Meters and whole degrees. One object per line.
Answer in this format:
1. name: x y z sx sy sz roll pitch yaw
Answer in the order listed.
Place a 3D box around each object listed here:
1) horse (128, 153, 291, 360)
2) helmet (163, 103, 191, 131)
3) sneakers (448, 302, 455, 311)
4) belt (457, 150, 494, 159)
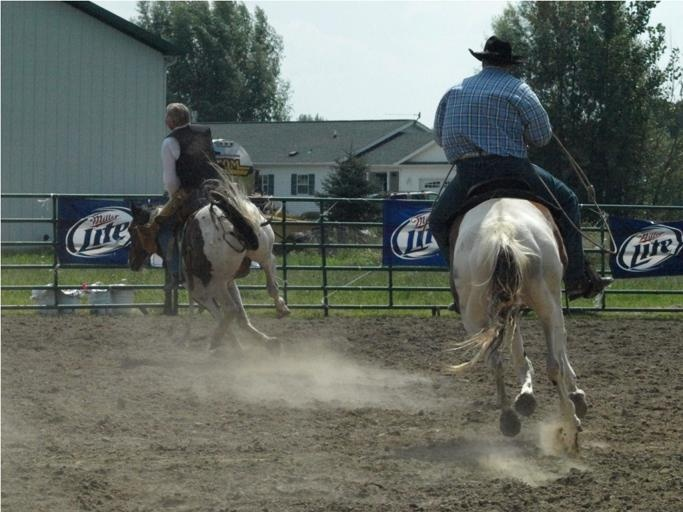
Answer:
1. horse: -2.701 0.175 23.207 1.333 3.547 4.335 -20 2 -36
2. helmet: -3.110 -2.582 22.411 0.366 0.529 0.498 -5 28 -11
3. sneakers: 1.949 0.906 21.066 0.109 0.065 0.152 22 -14 0
4. belt: 2.253 -1.661 20.245 0.527 0.131 0.107 0 3 10
